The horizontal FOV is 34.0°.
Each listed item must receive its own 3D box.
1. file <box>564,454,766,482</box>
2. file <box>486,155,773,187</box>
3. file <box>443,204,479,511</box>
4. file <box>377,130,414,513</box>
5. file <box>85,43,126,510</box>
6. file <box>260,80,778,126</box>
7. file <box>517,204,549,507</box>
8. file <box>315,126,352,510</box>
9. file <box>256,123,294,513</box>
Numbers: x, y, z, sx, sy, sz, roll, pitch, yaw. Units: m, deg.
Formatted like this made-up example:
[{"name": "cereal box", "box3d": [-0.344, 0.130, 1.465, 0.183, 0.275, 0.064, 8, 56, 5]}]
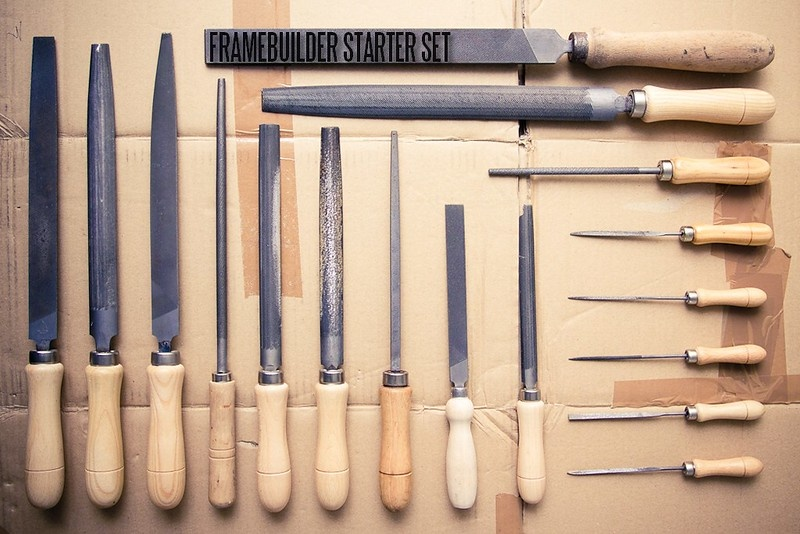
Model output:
[{"name": "file", "box3d": [0.696, 0.543, 3.529, 0.509, 0.070, 0.063, -1, 1, 0]}, {"name": "file", "box3d": [0.595, -0.262, 3.542, 0.570, 0.077, 0.075, -1, -2, 0]}, {"name": "file", "box3d": [0.162, 0.233, 3.504, 0.074, 0.799, 0.133, 1, 3, -24]}, {"name": "file", "box3d": [0.002, 0.144, 3.501, 0.100, 1.019, 0.147, 3, 3, -2]}, {"name": "file", "box3d": [-0.785, 0.015, 3.489, 0.098, 1.226, 0.165, 1, 3, -24]}, {"name": "file", "box3d": [0.266, -0.445, 3.532, 1.071, 0.108, 0.094, 1, 10, -2]}, {"name": "file", "box3d": [0.349, 0.228, 3.510, 0.063, 0.790, 0.120, 1, 3, -30]}, {"name": "file", "box3d": [-0.178, 0.129, 3.486, 0.082, 1.010, 0.141, 2, 3, -20]}, {"name": "file", "box3d": [-0.336, 0.129, 3.485, 0.091, 1.022, 0.138, 1, 3, -23]}]
